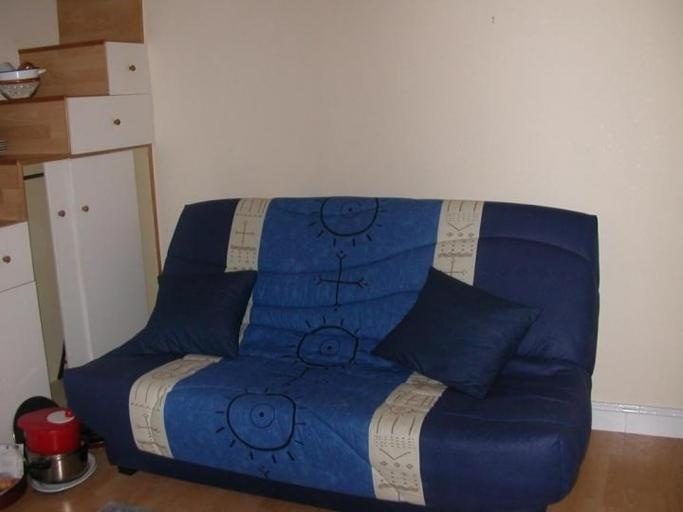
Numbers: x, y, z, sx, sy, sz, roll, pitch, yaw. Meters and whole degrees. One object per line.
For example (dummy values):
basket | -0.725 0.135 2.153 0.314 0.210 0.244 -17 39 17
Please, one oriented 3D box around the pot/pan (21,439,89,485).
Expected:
pot/pan | -1.376 0.982 2.884 0.207 0.106 0.208 -2 7 -30

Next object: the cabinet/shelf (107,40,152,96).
cabinet/shelf | -1.292 -1.138 3.597 0.106 0.310 0.345 6 11 21

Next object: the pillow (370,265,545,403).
pillow | 0.501 0.322 2.672 0.642 0.461 0.294 12 12 37
